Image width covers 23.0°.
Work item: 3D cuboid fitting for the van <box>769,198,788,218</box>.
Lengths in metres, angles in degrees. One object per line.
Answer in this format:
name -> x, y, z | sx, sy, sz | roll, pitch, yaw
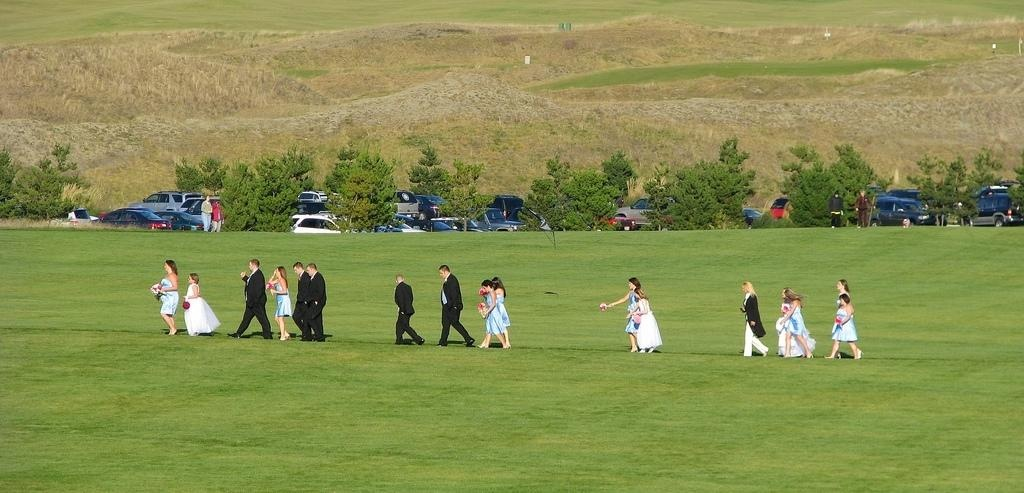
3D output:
van -> 33.549, -4.925, 314.483 | 2.444, 0.925, 3.122 | 4, 38, 21
